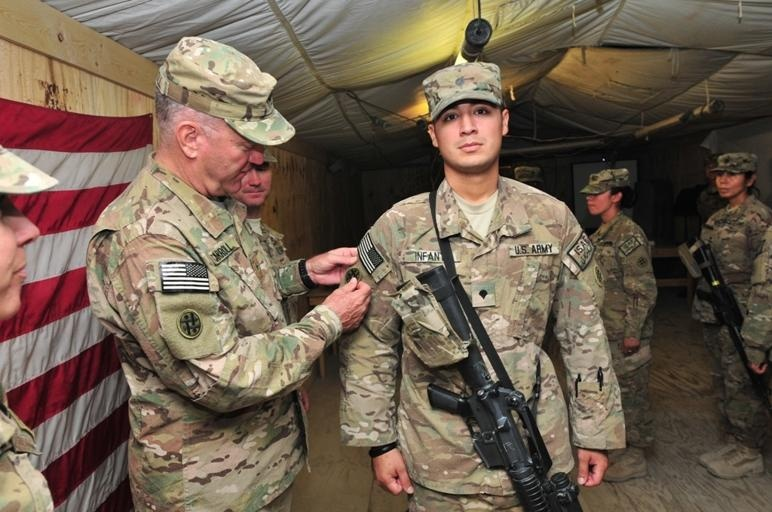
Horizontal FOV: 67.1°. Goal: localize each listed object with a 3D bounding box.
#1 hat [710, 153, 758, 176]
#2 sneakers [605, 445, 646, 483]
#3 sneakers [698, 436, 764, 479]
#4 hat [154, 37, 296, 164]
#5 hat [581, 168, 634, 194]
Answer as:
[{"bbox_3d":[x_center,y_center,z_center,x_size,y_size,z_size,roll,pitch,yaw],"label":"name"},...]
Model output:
[{"bbox_3d":[3.012,-0.784,4.909,0.354,0.115,0.238,-4,4,-38],"label":"hat"},{"bbox_3d":[1.854,1.603,4.522,0.311,0.088,0.225,-16,33,11],"label":"sneakers"},{"bbox_3d":[2.672,1.576,4.534,0.434,0.194,0.242,0,32,0],"label":"sneakers"},{"bbox_3d":[-0.736,-0.803,2.789,0.701,0.299,0.450,25,33,-3],"label":"hat"},{"bbox_3d":[1.937,-0.652,5.043,0.385,0.154,0.241,-9,9,-5],"label":"hat"}]
